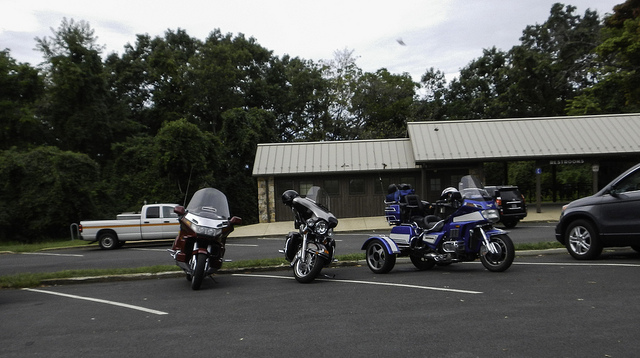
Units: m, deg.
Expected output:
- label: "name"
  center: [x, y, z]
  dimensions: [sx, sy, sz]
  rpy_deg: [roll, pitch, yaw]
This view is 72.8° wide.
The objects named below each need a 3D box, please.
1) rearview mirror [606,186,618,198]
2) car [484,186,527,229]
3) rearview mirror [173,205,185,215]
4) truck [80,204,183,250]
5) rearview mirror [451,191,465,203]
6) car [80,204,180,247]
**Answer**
- label: "rearview mirror"
  center: [10.443, 0.424, 15.574]
  dimensions: [0.345, 0.352, 0.168]
  rpy_deg: [4, 12, 33]
- label: "car"
  center: [10.404, 1.539, 25.760]
  dimensions: [1.971, 2.018, 4.313]
  rpy_deg: [-5, -3, -1]
- label: "rearview mirror"
  center: [-4.864, 1.072, 15.071]
  dimensions: [0.344, 0.367, 0.216]
  rpy_deg: [4, 12, -14]
- label: "truck"
  center: [-11.080, 2.879, 25.493]
  dimensions: [5.171, 1.713, 2.693]
  rpy_deg: [-4, -3, -6]
- label: "rearview mirror"
  center: [4.874, 0.628, 15.399]
  dimensions: [0.443, 0.374, 0.220]
  rpy_deg: [0, 10, 15]
- label: "car"
  center: [-11.370, 2.831, 25.984]
  dimensions: [4.980, 1.833, 2.575]
  rpy_deg: [-5, -5, -6]
